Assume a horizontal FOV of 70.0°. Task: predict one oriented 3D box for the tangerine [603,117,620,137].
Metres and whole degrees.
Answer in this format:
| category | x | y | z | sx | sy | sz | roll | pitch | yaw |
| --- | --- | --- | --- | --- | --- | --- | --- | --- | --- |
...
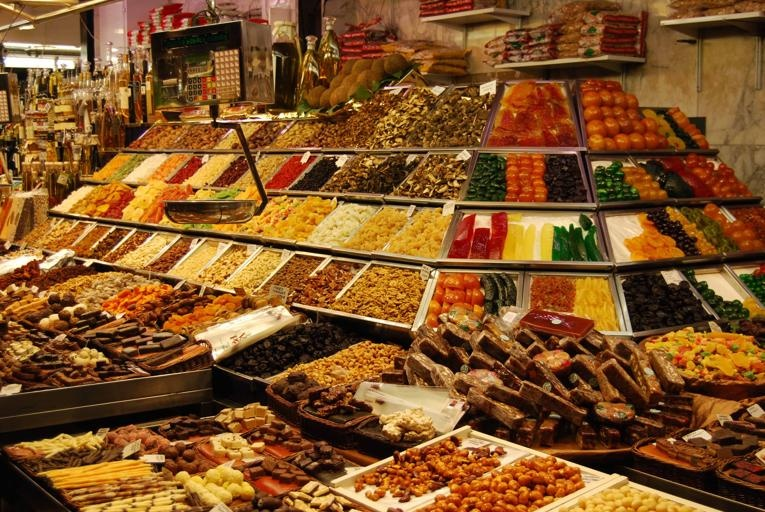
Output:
| category | x | y | z | sx | sy | sz | roll | pitch | yaw |
| --- | --- | --- | --- | --- | --- | --- | --- | --- | --- |
| tangerine | 2.215 | -1.237 | 5.289 | 0.179 | 0.150 | 0.096 | -12 | -11 | -6 |
